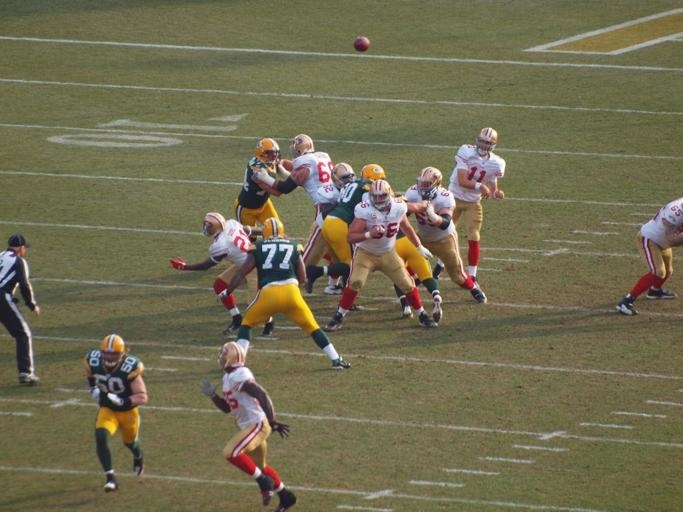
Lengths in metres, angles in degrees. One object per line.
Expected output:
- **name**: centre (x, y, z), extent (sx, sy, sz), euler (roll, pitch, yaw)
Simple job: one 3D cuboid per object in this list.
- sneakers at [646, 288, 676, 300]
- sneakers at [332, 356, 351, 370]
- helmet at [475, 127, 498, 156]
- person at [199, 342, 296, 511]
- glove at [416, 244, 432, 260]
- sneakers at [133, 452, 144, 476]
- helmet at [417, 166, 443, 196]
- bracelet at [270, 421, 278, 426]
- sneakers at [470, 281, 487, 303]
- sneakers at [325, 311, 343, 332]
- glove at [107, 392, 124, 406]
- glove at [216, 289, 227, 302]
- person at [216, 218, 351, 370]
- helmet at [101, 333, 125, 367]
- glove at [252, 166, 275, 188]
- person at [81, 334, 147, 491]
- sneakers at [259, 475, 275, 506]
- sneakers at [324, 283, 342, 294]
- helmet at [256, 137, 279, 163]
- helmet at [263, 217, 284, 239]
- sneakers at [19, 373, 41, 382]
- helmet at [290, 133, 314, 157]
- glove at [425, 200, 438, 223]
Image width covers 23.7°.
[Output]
- **sneakers**: centre (4.392, 0.528, 22.843), extent (0.405, 0.136, 0.148), euler (-3, 15, -5)
- **sneakers**: centre (-0.053, 1.417, 21.320), extent (0.326, 0.120, 0.106), euler (-3, 11, -23)
- **helmet**: centre (2.053, -1.663, 23.413), extent (0.383, 0.401, 0.460), euler (17, 8, 9)
- **person**: centre (-1.128, 2.040, 19.455), extent (0.920, 1.963, 0.880), euler (-4, 8, -24)
- **glove**: centre (1.097, -0.070, 22.296), extent (0.144, 0.169, 0.239), euler (3, 8, 29)
- **sneakers**: centre (-2.460, 2.538, 19.734), extent (0.124, 0.247, 0.124), euler (5, -1, -5)
- **helmet**: centre (1.153, -1.011, 22.353), extent (0.311, 0.404, 0.231), euler (-1, 8, 1)
- **bracelet**: centre (-0.822, 2.000, 19.435), extent (0.094, 0.071, 0.063), euler (-12, 6, 20)
- **sneakers**: centre (1.858, 0.519, 22.856), extent (0.113, 0.319, 0.145), euler (-46, -11, 22)
- **sneakers**: centre (-0.118, 0.906, 22.039), extent (0.153, 0.208, 0.414), euler (20, 23, 34)
- **glove**: centre (-2.736, 1.728, 19.596), extent (0.177, 0.066, 0.136), euler (40, 6, 3)
- **glove**: centre (-1.623, 0.518, 21.747), extent (0.079, 0.072, 0.285), euler (-30, 3, -9)
- **person**: centre (-0.776, 0.641, 21.093), extent (1.395, 1.738, 0.612), euler (-1, 8, -4)
- **helmet**: centre (-2.793, 1.151, 19.785), extent (0.297, 0.383, 0.263), euler (-2, 7, -8)
- **glove**: centre (-1.109, -1.108, 22.929), extent (0.300, 0.274, 0.142), euler (-4, 8, -22)
- **person**: centre (-2.711, 1.893, 19.708), extent (0.660, 1.849, 0.698), euler (-3, 8, -15)
- **sneakers**: centre (-0.921, 2.789, 19.371), extent (0.198, 0.358, 0.140), euler (-2, 8, -5)
- **sneakers**: centre (-0.183, 0.463, 23.206), extent (0.313, 0.109, 0.094), euler (-4, 28, -9)
- **helmet**: centre (-1.103, -1.547, 23.376), extent (0.415, 0.268, 0.294), euler (6, 19, 18)
- **helmet**: centre (-0.959, -0.377, 22.787), extent (0.338, 0.270, 0.357), euler (1, 19, -13)
- **sneakers**: centre (-4.064, 1.583, 21.134), extent (0.308, 0.159, 0.088), euler (1, 14, -9)
- **helmet**: centre (-0.636, -1.608, 23.543), extent (0.469, 0.314, 0.326), euler (4, 11, 31)
- **glove**: centre (1.210, -0.590, 22.252), extent (0.199, 0.267, 0.105), euler (-1, 8, 1)
